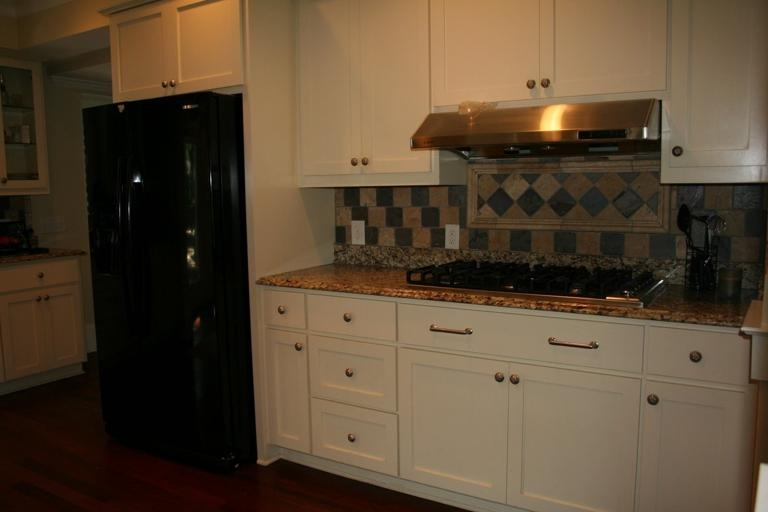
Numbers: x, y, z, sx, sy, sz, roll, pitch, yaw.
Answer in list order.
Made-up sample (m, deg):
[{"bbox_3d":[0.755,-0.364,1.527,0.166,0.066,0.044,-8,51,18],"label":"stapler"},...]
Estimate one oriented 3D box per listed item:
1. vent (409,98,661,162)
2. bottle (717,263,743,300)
[{"bbox_3d":[0.845,-0.687,3.399,1.260,0.337,0.548,5,17,23],"label":"vent"},{"bbox_3d":[1.794,0.141,3.193,0.108,0.153,0.047,2,15,12],"label":"bottle"}]
